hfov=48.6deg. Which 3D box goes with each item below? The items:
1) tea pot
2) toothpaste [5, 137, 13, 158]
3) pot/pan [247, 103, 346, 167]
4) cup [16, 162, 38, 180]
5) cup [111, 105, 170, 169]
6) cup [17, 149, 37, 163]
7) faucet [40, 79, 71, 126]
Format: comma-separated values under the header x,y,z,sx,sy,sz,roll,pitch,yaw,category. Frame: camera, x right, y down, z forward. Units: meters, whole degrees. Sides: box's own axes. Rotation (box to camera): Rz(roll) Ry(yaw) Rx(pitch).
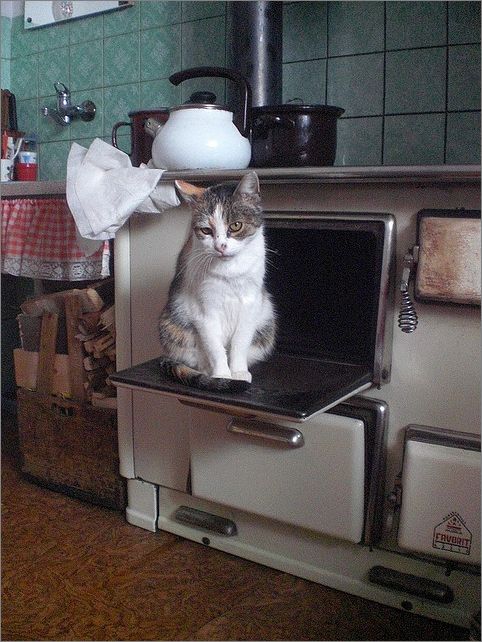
x,y,z,sx,sy,sz,roll,pitch,yaw,category
-0.097,-0.455,1.207,0.238,0.220,0.230,0,14,0,tea pot
-0.939,-0.701,2.154,0.024,0.089,0.042,0,4,3,toothpaste
0.129,-0.412,1.209,0.215,0.157,0.190,0,5,1,pot/pan
-0.863,-0.596,2.132,0.080,0.062,0.081,-1,1,0,cup
-0.286,-0.492,1.455,0.158,0.165,0.101,4,3,20,cup
-0.875,-0.664,2.160,0.065,0.069,0.099,-2,5,-23,cup
-0.745,-0.886,2.187,0.180,0.166,0.065,7,14,24,faucet
